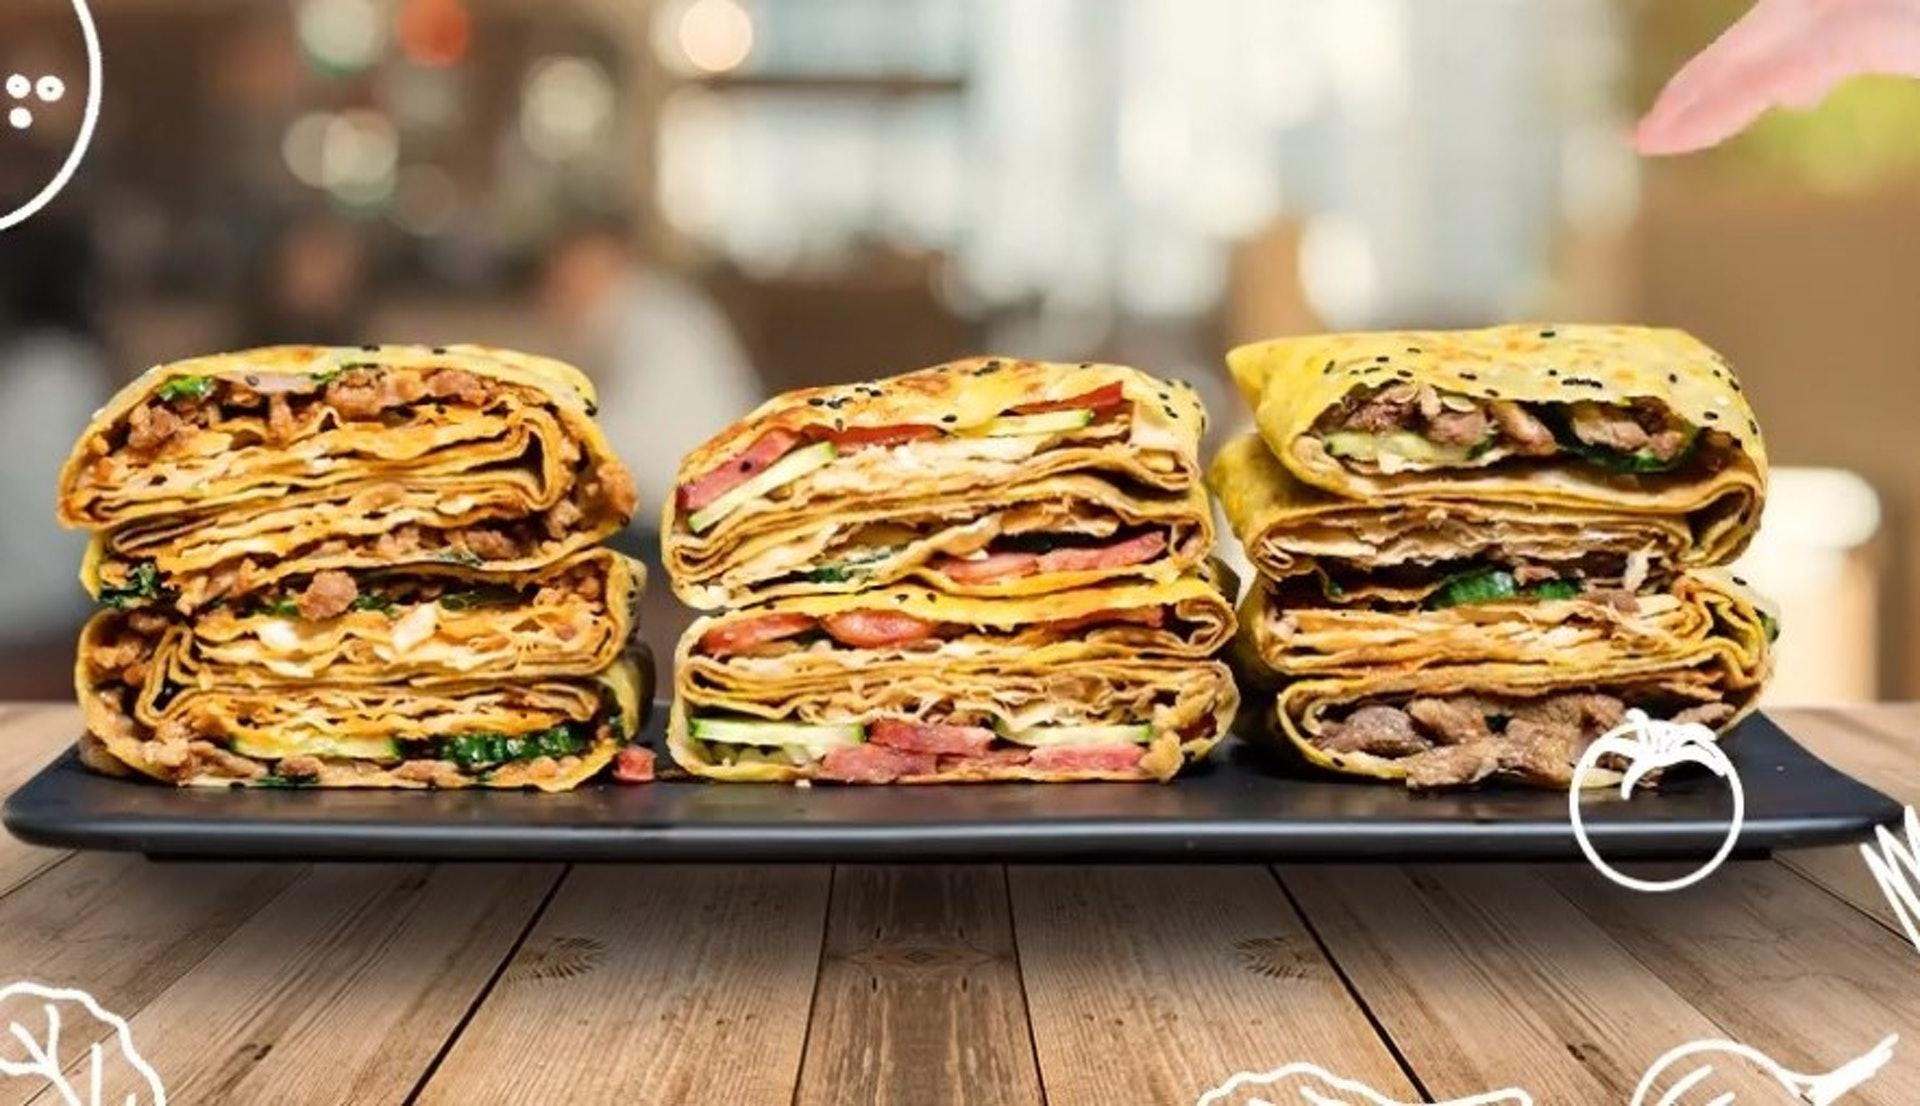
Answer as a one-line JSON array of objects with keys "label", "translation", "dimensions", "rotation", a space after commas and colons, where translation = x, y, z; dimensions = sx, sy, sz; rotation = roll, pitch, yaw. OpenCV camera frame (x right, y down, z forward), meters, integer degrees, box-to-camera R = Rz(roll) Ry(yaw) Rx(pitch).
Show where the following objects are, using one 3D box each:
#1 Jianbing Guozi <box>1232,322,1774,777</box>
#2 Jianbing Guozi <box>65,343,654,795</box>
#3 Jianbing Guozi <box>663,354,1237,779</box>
[{"label": "Jianbing Guozi", "translation": [0.705, 0.007, 2.662], "dimensions": [0.874, 0.565, 0.619], "rotation": [-2, 2, 0]}, {"label": "Jianbing Guozi", "translation": [-0.790, 0.011, 2.631], "dimensions": [1.017, 0.592, 0.598], "rotation": [-1, 12, -4]}, {"label": "Jianbing Guozi", "translation": [-0.021, 0.048, 2.676], "dimensions": [0.851, 0.491, 0.606], "rotation": [0, 0, 0]}]
